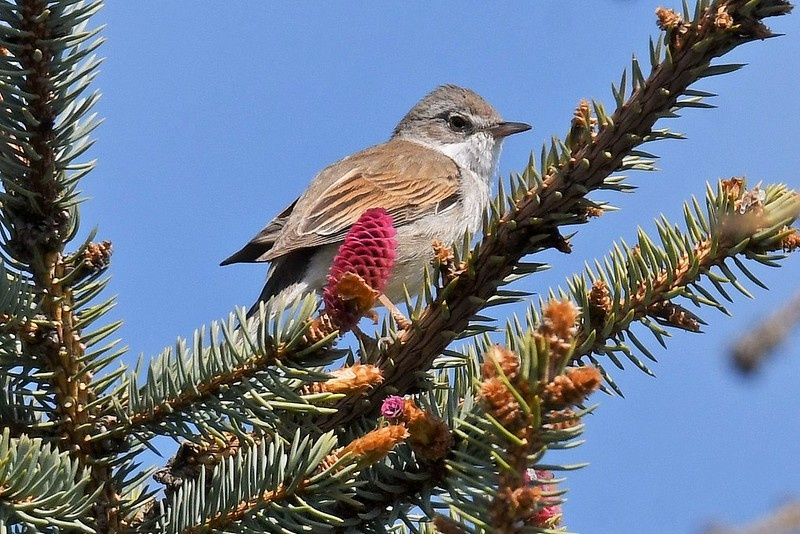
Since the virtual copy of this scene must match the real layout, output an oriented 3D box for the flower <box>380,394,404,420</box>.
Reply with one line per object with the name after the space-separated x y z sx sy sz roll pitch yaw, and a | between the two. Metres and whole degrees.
-0.033 0.512 5.501 0.080 0.077 0.042 11 -3 12 | flower
